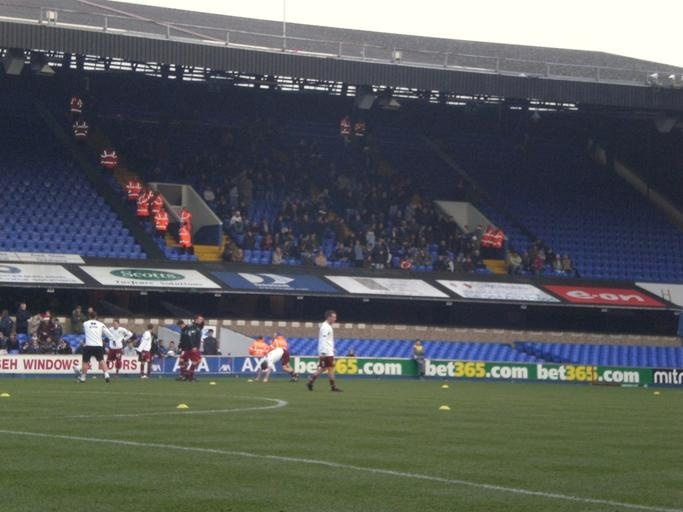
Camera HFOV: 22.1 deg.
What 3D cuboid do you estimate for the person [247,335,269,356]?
[{"bbox_3d":[-3.429,3.645,71.334,0.831,0.832,0.276,9,-2,-18],"label":"person"}]

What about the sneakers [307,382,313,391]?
[{"bbox_3d":[-1.146,4.678,63.046,0.193,0.272,0.276,-1,-7,-1],"label":"sneakers"}]

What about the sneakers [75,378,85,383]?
[{"bbox_3d":[-9.684,4.579,64.903,0.132,0.164,0.357,1,-4,-40],"label":"sneakers"}]

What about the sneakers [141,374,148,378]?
[{"bbox_3d":[-7.729,4.657,68.476,0.252,0.093,0.318,-1,12,-12],"label":"sneakers"}]

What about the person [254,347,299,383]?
[{"bbox_3d":[-2.471,4.056,67.110,1.645,1.078,0.807,-10,24,-27],"label":"person"}]

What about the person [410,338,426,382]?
[{"bbox_3d":[3.259,4.317,72.994,0.497,1.394,0.721,-3,13,-23],"label":"person"}]

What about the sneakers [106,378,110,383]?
[{"bbox_3d":[-8.685,4.556,64.837,0.190,0.223,0.204,0,-4,-10],"label":"sneakers"}]

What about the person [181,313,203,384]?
[{"bbox_3d":[-5.699,3.533,65.926,0.795,2.472,0.921,0,12,-6],"label":"person"}]

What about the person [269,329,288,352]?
[{"bbox_3d":[-2.468,3.283,68.011,0.590,0.404,0.929,-1,-17,-10],"label":"person"}]
